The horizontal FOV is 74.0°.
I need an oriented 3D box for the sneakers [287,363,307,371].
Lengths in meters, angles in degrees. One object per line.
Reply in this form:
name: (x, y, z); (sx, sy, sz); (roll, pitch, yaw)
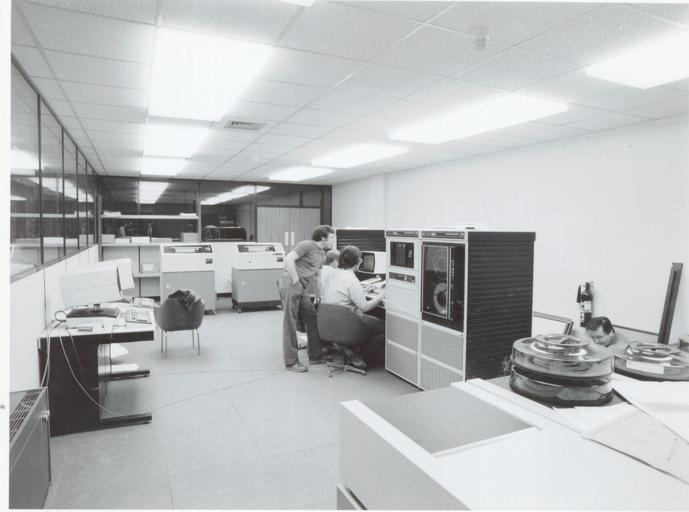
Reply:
sneakers: (-0.502, 1.174, 4.804); (0.217, 0.099, 0.088); (1, -2, 10)

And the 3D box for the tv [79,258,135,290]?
tv: (-2.200, 0.173, 4.210); (0.397, 0.258, 0.214); (-5, -4, -8)

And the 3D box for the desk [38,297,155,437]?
desk: (-2.030, 1.004, 3.834); (0.742, 0.686, 1.390); (-1, 3, -19)

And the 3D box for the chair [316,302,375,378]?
chair: (-0.065, 0.903, 4.681); (0.557, 0.683, 0.498); (-4, -13, 16)

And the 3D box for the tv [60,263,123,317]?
tv: (-2.174, 0.316, 3.962); (0.471, 0.451, 0.386); (0, 0, -15)

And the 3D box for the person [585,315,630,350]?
person: (2.603, 0.676, 4.524); (0.295, 0.298, 0.999); (6, 10, 33)

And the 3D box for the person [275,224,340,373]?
person: (-0.451, 0.424, 5.013); (0.477, 1.533, 0.363); (7, -9, -27)

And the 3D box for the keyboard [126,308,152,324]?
keyboard: (-1.744, 0.518, 3.877); (0.142, 0.044, 0.159); (1, 10, -26)

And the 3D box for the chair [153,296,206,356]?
chair: (-1.976, 0.777, 5.452); (0.682, 0.872, 0.715); (-1, 3, -22)

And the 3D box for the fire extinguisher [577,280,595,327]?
fire extinguisher: (2.704, 0.545, 5.142); (0.172, 0.515, 0.246); (6, 11, 30)
